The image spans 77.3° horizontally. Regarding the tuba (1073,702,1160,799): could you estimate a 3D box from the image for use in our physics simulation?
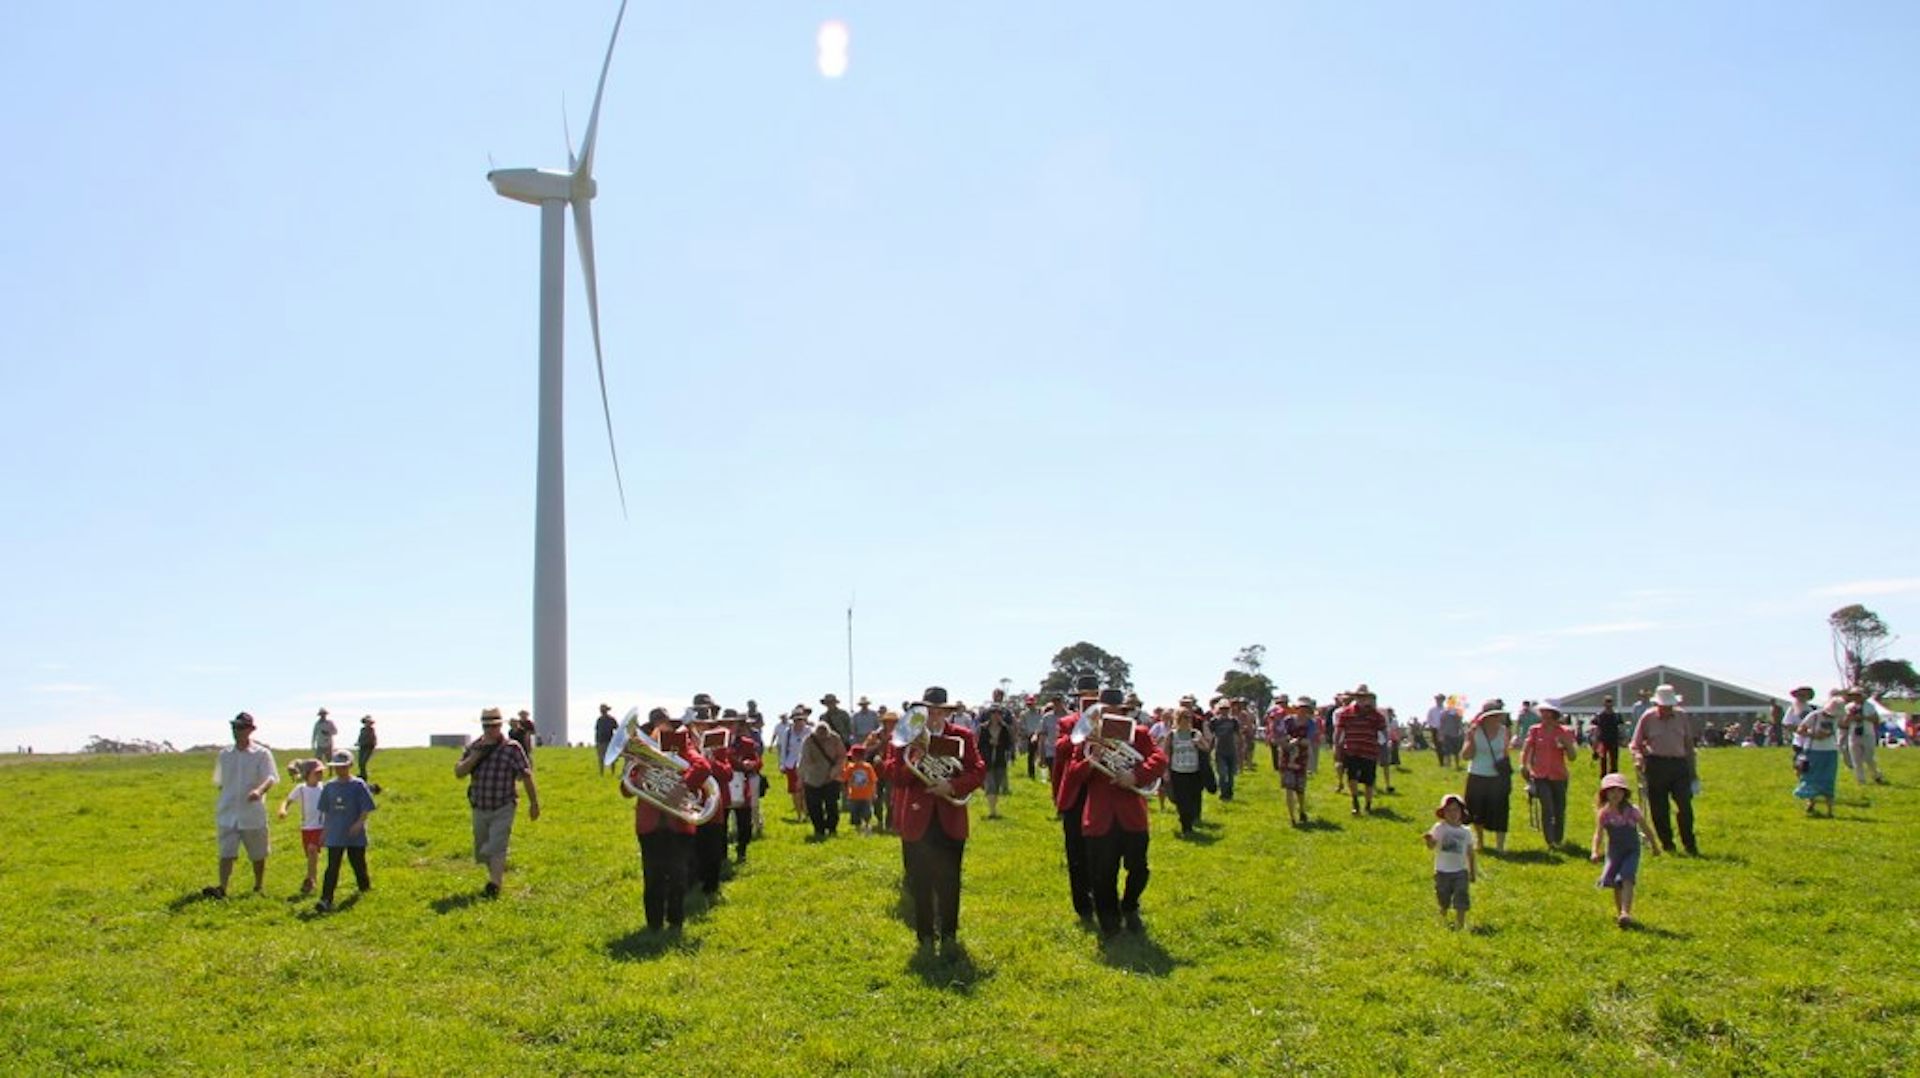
[{"bbox_3d":[2.610,3.344,19.503,1.664,0.860,0.987,32,16,28],"label":"tuba"}]
